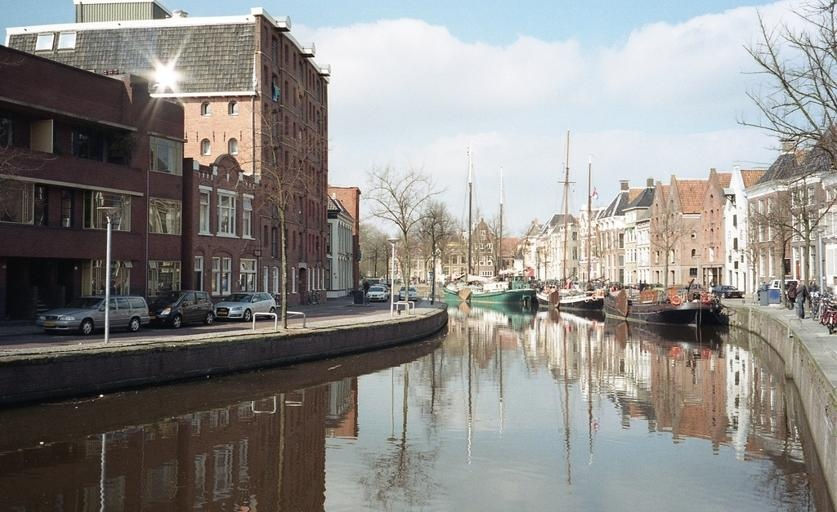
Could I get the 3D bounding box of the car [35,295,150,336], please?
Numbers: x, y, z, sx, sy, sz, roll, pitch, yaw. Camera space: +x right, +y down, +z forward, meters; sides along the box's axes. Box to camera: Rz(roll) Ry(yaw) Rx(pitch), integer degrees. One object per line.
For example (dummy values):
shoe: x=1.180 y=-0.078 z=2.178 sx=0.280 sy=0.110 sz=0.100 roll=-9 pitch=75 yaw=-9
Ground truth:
car: x=-16.480 y=2.975 z=43.513 sx=2.404 sy=1.867 sz=5.552 roll=2 pitch=-1 yaw=26

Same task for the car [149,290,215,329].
car: x=-13.369 y=2.835 z=47.619 sx=2.014 sy=2.025 sz=4.067 roll=3 pitch=0 yaw=26

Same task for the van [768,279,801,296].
van: x=25.679 y=2.177 z=59.563 sx=1.045 sy=1.006 sz=1.862 roll=0 pitch=-6 yaw=-8
